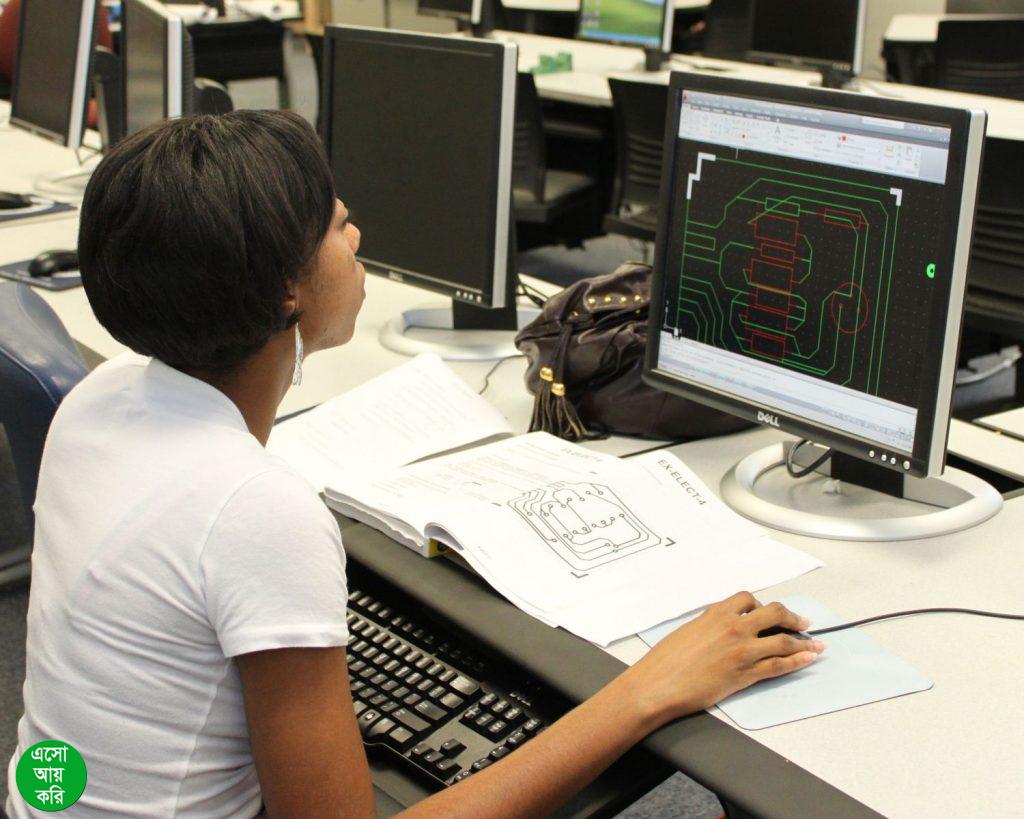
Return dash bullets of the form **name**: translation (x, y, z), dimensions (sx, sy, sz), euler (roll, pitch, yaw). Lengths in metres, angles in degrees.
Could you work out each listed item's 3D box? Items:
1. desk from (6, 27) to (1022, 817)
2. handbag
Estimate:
- **desk**: translation (-0.130, 0.012, 0.972), dimensions (0.606, 0.415, 0.625), euler (-8, 18, -29)
- **handbag**: translation (0.208, -0.130, 1.621), dimensions (0.328, 0.144, 0.267), euler (-11, 21, -30)
